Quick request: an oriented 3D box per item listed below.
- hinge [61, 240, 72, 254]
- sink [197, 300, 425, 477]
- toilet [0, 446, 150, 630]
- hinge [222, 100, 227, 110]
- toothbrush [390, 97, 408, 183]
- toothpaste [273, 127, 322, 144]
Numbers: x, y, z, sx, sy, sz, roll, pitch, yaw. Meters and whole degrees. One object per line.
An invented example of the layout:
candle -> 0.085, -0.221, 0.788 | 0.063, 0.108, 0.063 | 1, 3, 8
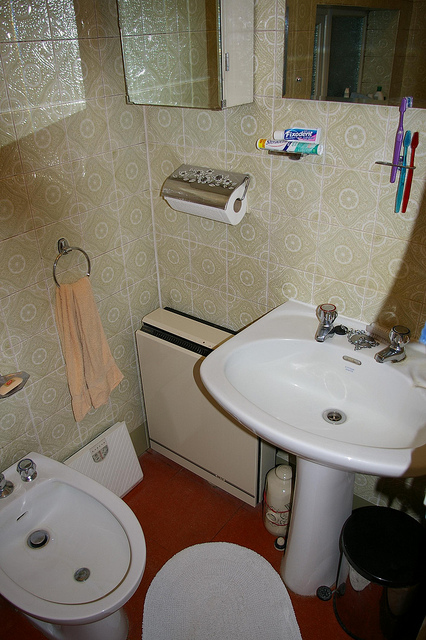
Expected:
hinge -> -0.421, -0.212, 1.280 | 0.024, 0.036, 0.010 | 9, 8, -1
sink -> 0.268, 0.132, 1.049 | 0.513, 0.260, 0.520 | 7, 18, 37
toilet -> -0.389, 0.603, 1.223 | 0.406, 0.384, 0.252 | 28, 44, 33
hinge -> 0.030, -0.521, 1.071 | 0.014, 0.014, 0.004 | -13, 17, -30
toothbrush -> 0.380, -0.369, 0.918 | 0.015, 0.164, 0.014 | 10, 25, 14
toothpaste -> 0.205, -0.450, 1.080 | 0.119, 0.040, 0.045 | 11, 41, 36
